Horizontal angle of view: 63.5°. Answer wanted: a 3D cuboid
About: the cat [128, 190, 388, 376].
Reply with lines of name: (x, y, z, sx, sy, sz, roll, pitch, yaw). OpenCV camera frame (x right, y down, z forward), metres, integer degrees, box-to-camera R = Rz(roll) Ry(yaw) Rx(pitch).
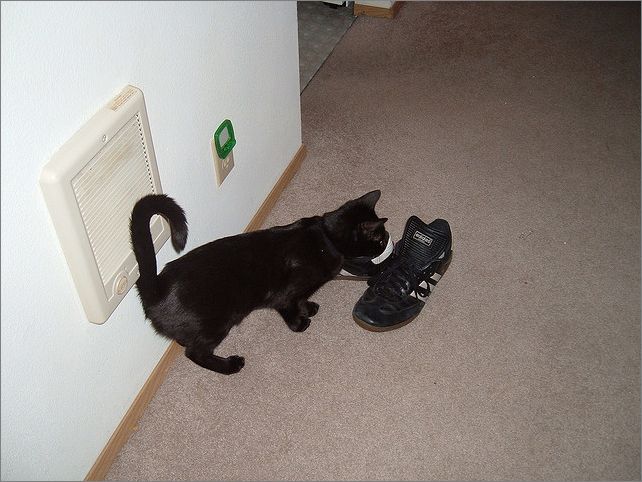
cat: (-0.201, 0.150, 1.849, 0.902, 0.789, 0.272, -8, 27, -27)
